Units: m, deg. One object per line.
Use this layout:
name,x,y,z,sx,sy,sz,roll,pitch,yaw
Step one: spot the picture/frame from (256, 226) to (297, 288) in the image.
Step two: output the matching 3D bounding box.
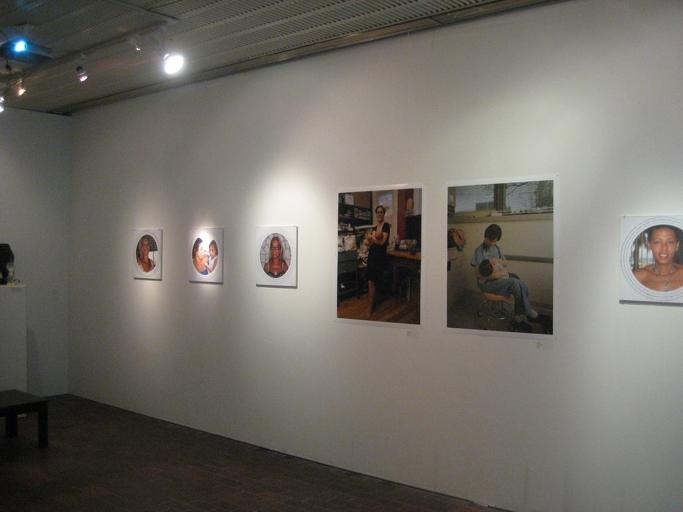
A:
picture/frame,-0.808,0.013,6.676,0.652,0.956,0.067,1,0,39

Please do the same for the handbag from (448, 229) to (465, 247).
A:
handbag,1.185,-0.190,5.487,0.140,0.180,0.064,3,6,29

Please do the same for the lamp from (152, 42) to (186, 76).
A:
lamp,-2.029,-2.324,6.197,0.258,0.308,0.293,-10,39,-29

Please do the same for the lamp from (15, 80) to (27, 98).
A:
lamp,-4.629,-2.413,7.622,0.073,0.251,0.169,-5,-8,-4

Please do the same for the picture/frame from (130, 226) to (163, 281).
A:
picture/frame,-2.975,-0.039,8.101,0.709,0.947,0.035,-1,-2,43
